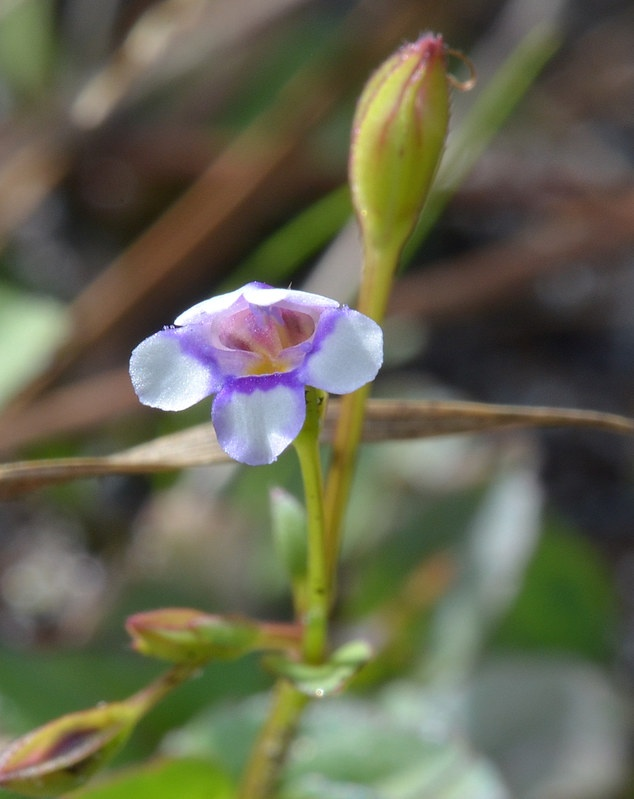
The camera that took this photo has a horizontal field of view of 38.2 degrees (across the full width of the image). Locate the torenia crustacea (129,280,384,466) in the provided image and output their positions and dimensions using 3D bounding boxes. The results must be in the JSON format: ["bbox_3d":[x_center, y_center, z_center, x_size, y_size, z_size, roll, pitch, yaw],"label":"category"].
[{"bbox_3d":[-0.038,-0.029,0.798,0.207,0.143,0.162,2,10,14],"label":"torenia crustacea"}]
